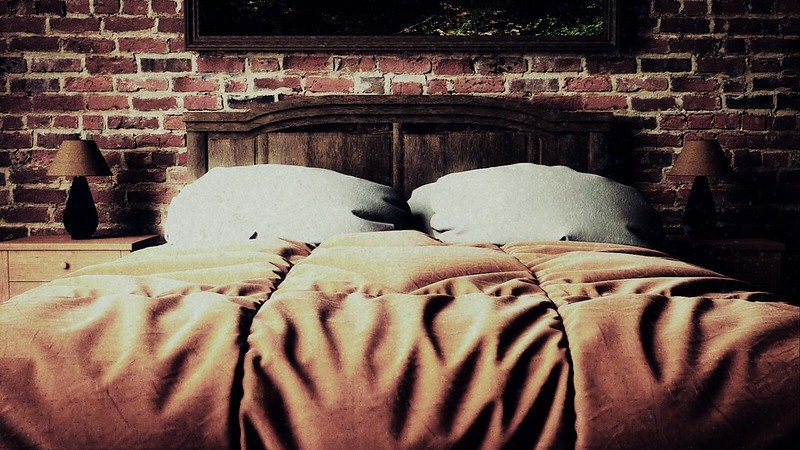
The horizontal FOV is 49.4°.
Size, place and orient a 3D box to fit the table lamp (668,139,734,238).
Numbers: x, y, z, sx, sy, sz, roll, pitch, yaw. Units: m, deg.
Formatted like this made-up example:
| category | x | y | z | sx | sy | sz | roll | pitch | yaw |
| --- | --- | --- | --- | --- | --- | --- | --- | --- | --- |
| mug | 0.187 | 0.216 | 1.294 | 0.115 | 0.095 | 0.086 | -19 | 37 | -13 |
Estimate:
| category | x | y | z | sx | sy | sz | roll | pitch | yaw |
| --- | --- | --- | --- | --- | --- | --- | --- | --- | --- |
| table lamp | 1.811 | -0.236 | 5.209 | 0.366 | 0.549 | 0.357 | 1 | 7 | 23 |
